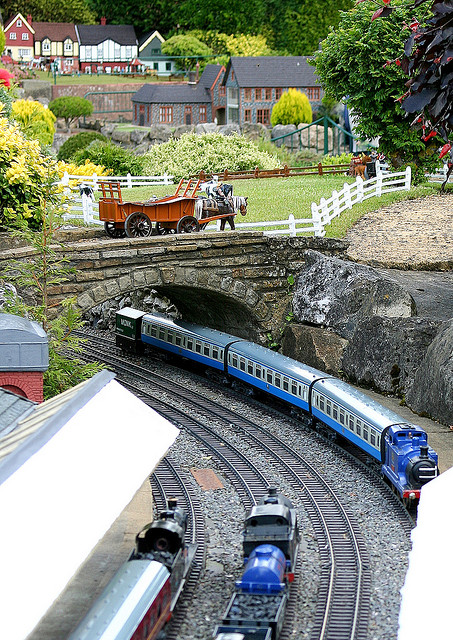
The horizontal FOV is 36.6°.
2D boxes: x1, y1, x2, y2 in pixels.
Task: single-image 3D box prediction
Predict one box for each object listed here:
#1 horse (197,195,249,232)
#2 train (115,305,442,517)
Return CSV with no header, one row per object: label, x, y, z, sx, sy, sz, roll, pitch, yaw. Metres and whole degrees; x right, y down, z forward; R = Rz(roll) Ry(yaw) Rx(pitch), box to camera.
horse,-0.381,-4.578,29.090,1.719,1.567,1.627,-1,10,24
train,1.394,2.203,26.786,1.346,1.509,15.441,-5,22,-42
